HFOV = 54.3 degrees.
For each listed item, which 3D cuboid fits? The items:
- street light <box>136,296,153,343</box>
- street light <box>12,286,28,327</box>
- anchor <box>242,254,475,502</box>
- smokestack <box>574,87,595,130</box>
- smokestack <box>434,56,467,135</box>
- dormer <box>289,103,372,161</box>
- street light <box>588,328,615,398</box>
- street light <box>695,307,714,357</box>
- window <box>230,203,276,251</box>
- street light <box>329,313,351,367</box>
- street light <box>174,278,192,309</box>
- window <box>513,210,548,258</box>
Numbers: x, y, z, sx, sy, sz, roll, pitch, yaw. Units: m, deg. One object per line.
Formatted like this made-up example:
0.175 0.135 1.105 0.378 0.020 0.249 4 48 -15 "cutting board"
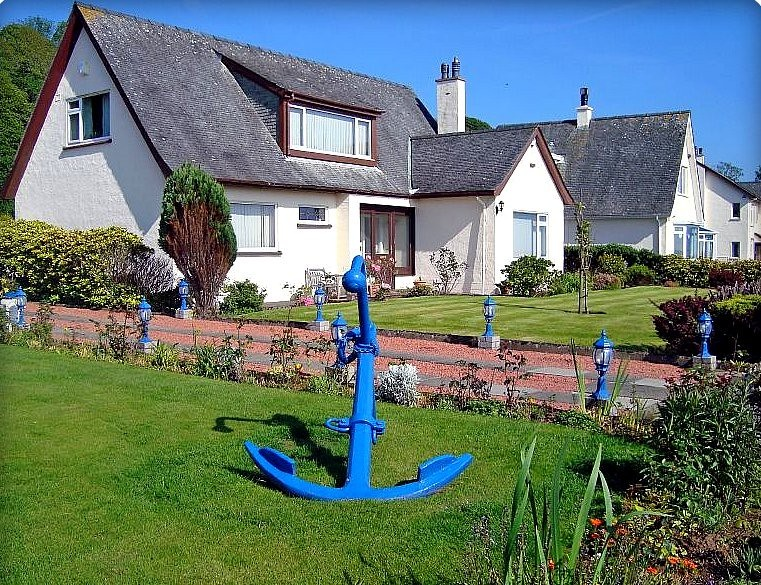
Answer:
-4.288 0.569 13.595 0.204 0.738 0.765 -2 8 -18 "street light"
-7.660 0.282 15.905 0.274 0.785 0.305 -7 -3 7 "street light"
-0.209 0.855 7.584 2.155 2.381 0.785 1 7 6 "anchor"
10.815 -9.741 39.370 0.665 2.157 0.697 3 8 34 "smokestack"
3.101 -8.341 32.080 1.001 3.428 1.113 1 4 21 "smokestack"
-1.678 -5.417 25.248 3.220 1.626 0.135 3 -8 -31 "dormer"
3.024 0.989 10.113 0.238 0.874 0.663 2 7 17 "street light"
5.613 0.712 12.855 0.211 0.813 1.012 3 8 24 "street light"
-3.702 -1.970 21.989 0.340 1.325 1.468 6 9 42 "window"
-0.518 0.615 9.717 0.222 0.731 0.243 -4 8 -1 "street light"
-5.175 0.028 19.658 0.416 0.881 1.547 -2 8 -16 "street light"
5.450 -2.063 27.408 2.151 1.835 0.180 0 -4 -33 "window"
